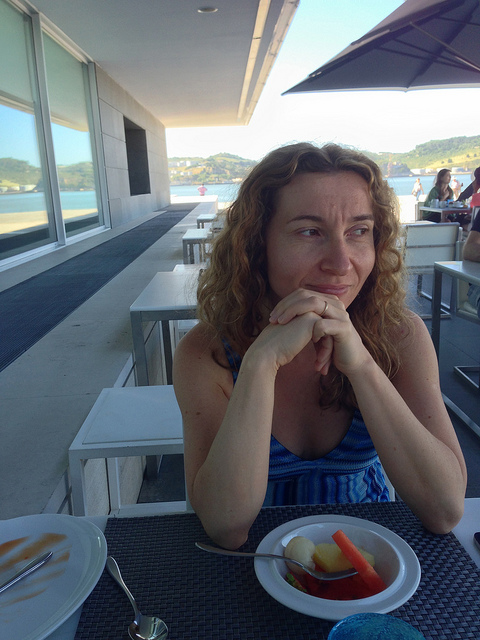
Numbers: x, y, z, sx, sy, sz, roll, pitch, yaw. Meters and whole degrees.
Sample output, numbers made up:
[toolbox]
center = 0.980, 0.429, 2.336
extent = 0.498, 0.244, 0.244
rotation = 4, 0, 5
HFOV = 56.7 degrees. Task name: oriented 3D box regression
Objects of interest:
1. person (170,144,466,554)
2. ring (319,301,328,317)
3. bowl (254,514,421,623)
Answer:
[person]
center = 0.170, 0.030, 0.981
extent = 0.527, 0.811, 0.468
rotation = 1, -5, -17
[ring]
center = 0.156, -0.023, 0.828
extent = 0.008, 0.022, 0.016
rotation = 3, 3, -43
[bowl]
center = 0.110, 0.261, 0.514
extent = 0.123, 0.063, 0.104
rotation = -3, 10, -16
